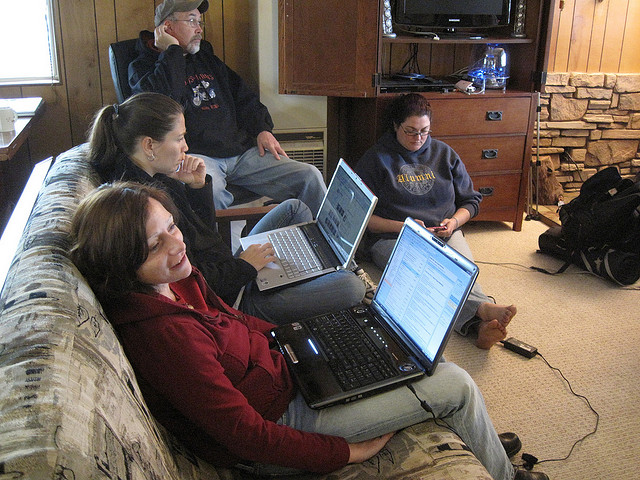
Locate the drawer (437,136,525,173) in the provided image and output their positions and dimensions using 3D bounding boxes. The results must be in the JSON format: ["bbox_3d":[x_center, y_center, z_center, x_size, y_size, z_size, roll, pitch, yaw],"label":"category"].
[{"bbox_3d":[1.196,-0.620,3.376,0.544,0.268,0.291,-7,34,-9],"label":"drawer"}]

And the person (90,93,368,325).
[{"bbox_3d":[-0.288,-0.085,2.131,1.120,1.206,0.599,-18,30,-17],"label":"person"}]

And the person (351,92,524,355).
[{"bbox_3d":[0.666,-0.169,2.641,0.838,1.043,1.413,-10,31,-9],"label":"person"}]

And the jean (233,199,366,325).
[{"bbox_3d":[-0.078,0.072,2.081,0.355,0.090,0.428,-24,39,-24],"label":"jean"}]

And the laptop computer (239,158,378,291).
[{"bbox_3d":[-0.077,-0.089,2.038,0.510,0.343,0.454,-8,32,-11],"label":"laptop computer"}]

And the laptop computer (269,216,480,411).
[{"bbox_3d":[0.153,0.205,1.524,0.596,0.372,0.508,-13,23,-25],"label":"laptop computer"}]

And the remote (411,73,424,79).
[{"bbox_3d":[0.712,-1.205,3.486,0.088,0.022,0.282,5,23,8],"label":"remote"}]

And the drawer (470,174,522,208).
[{"bbox_3d":[1.365,-0.360,3.583,0.253,0.321,0.439,-5,4,-33],"label":"drawer"}]
